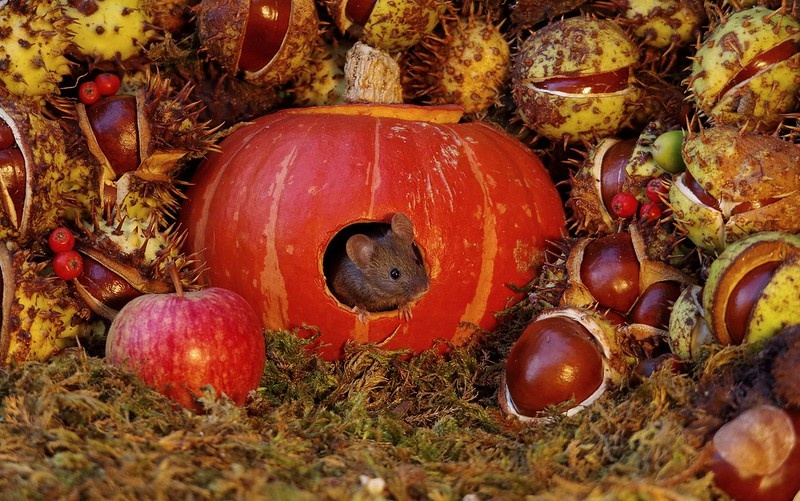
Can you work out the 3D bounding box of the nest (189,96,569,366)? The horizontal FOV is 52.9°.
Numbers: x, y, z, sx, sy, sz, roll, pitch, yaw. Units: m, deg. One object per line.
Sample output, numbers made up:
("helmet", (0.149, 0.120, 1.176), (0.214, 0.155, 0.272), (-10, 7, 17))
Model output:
("nest", (-0.115, -0.133, 3.477), (1.335, 0.712, 1.274), (10, 13, 27))
